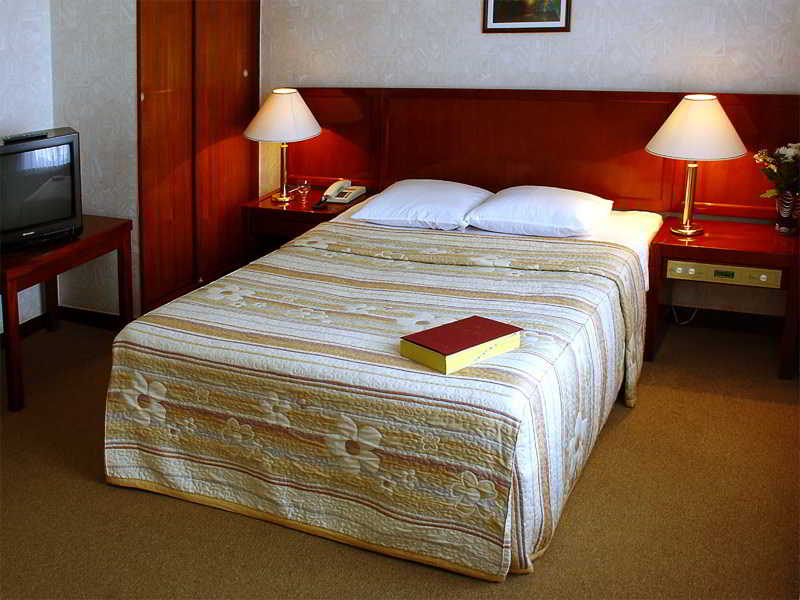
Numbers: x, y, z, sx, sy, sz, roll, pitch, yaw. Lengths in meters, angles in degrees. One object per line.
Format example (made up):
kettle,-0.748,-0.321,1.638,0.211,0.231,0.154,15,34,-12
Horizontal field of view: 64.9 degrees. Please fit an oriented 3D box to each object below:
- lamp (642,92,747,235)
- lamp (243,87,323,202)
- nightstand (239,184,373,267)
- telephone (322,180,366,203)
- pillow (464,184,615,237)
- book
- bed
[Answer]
lamp,1.646,-0.760,3.559,0.525,0.762,0.520,1,7,-26
lamp,-0.787,-1.040,4.238,0.538,0.728,0.539,22,30,29
nightstand,-0.740,-0.576,4.282,0.807,0.611,0.552,6,22,17
telephone,-0.367,-0.720,4.164,0.162,0.086,0.237,6,21,16
pillow,0.742,-0.477,3.405,0.410,0.132,0.453,5,22,19
book,0.231,0.139,2.208,0.427,0.082,0.224,-14,28,-34
bed,0.168,-0.053,2.642,1.346,0.462,1.727,11,26,24
